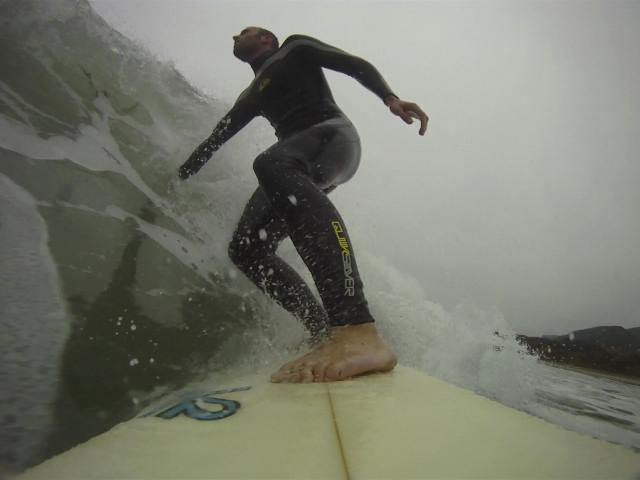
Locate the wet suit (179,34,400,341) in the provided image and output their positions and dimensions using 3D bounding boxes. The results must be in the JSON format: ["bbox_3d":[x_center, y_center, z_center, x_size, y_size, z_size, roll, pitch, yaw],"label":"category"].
[{"bbox_3d":[-0.127,-0.156,1.370,0.370,0.510,0.931,19,31,-12],"label":"wet suit"}]
